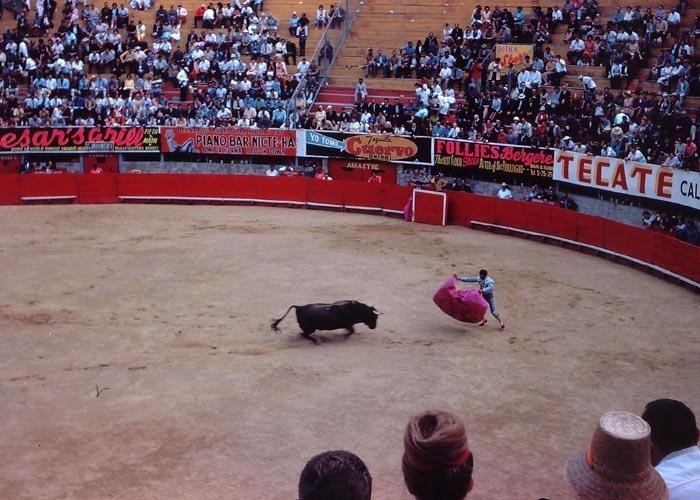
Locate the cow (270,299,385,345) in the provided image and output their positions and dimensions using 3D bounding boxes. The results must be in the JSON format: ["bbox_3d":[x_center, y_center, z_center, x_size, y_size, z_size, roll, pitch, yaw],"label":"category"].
[{"bbox_3d":[-0.773,1.850,22.448,3.330,1.296,1.039,-3,25,-7],"label":"cow"}]

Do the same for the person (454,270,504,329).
[{"bbox_3d":[3.488,1.404,23.914,1.253,1.549,0.682,5,19,37],"label":"person"}]
